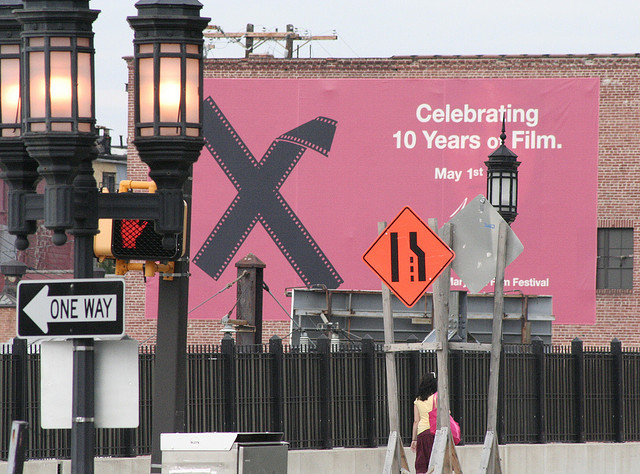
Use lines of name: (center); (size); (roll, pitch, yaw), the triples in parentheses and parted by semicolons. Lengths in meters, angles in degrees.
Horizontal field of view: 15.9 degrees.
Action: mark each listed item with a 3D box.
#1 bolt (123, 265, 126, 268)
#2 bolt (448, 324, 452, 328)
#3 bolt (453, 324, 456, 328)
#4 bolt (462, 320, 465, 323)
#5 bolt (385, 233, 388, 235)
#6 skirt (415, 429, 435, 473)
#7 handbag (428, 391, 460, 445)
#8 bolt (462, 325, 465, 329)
bolt: (-3.853, 0.604, 45.395); (0.039, 0.062, 0.096); (-1, -8, 4)
bolt: (2.880, 2.059, 51.528); (0.065, 0.079, 0.063); (2, -8, -21)
bolt: (2.971, 2.064, 51.400); (0.054, 0.068, 0.037); (0, 3, 40)
bolt: (3.198, 1.962, 51.842); (0.043, 0.065, 0.066); (-1, -7, 2)
bolt: (1.299, -0.056, 45.908); (0.049, 0.027, 0.011); (0, -7, -4)
skirt: (2.142, 4.589, 47.921); (0.143, 0.919, 0.466); (6, -10, -43)
handbag: (2.517, 3.811, 47.387); (0.636, 1.131, 1.310); (-1, -7, 2)
bolt: (3.191, 2.089, 51.747); (0.043, 0.093, 0.055); (5, -9, -36)
